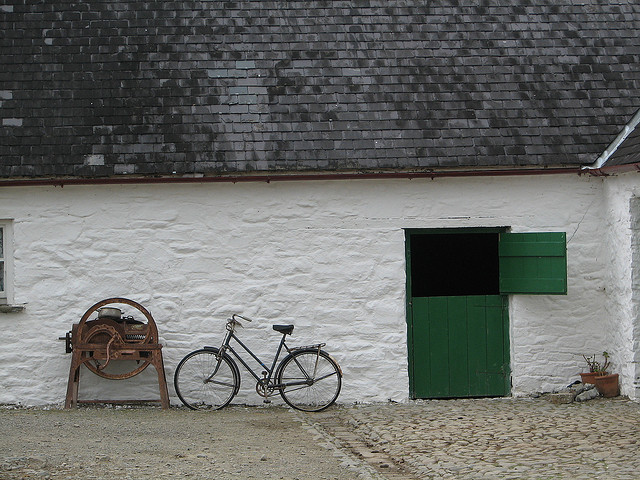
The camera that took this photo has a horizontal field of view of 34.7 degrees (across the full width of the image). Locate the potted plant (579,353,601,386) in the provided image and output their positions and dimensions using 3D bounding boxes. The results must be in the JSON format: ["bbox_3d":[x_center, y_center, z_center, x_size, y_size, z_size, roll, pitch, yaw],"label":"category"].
[{"bbox_3d":[4.184,2.008,15.724,0.391,0.473,0.357,2,-5,-11],"label":"potted plant"}]

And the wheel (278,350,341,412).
[{"bbox_3d":[-0.155,2.126,15.378,1.098,0.918,0.075,-1,0,-4],"label":"wheel"}]

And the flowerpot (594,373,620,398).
[{"bbox_3d":[4.386,2.209,15.505,0.376,0.241,0.349,-5,0,9],"label":"flowerpot"}]

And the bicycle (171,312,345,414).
[{"bbox_3d":[-0.901,1.890,15.427,2.757,1.346,0.683,4,-14,-26],"label":"bicycle"}]

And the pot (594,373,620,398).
[{"bbox_3d":[4.385,2.220,15.512,0.364,0.240,0.359,-4,-1,0],"label":"pot"}]

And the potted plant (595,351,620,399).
[{"bbox_3d":[4.367,2.039,15.645,0.417,0.649,0.399,-2,0,-18],"label":"potted plant"}]

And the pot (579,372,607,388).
[{"bbox_3d":[4.140,2.117,15.602,0.272,0.157,0.254,0,2,0],"label":"pot"}]

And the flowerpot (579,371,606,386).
[{"bbox_3d":[4.175,2.098,15.626,0.254,0.138,0.239,-1,2,-30],"label":"flowerpot"}]
